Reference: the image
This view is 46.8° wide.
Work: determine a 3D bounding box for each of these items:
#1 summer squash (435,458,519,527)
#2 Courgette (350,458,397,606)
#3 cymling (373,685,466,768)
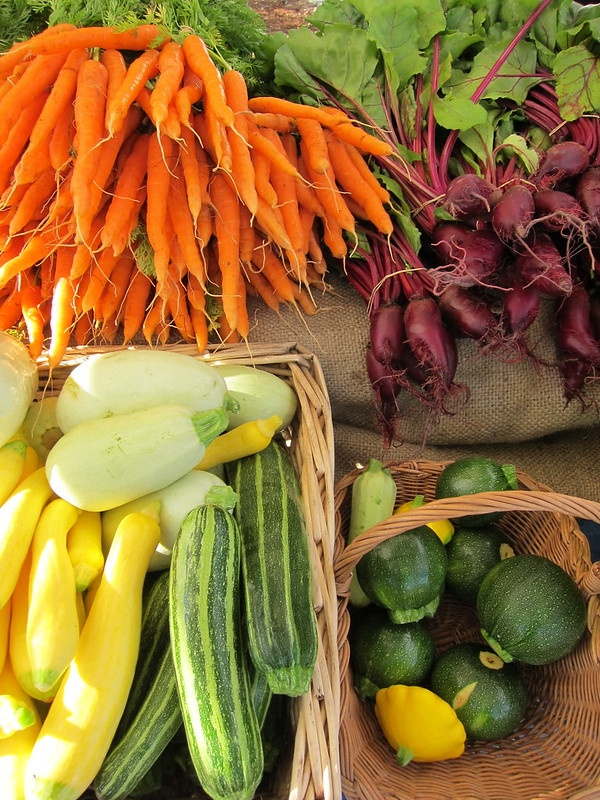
[{"bbox_3d":[0.348,0.169,1.350,0.160,0.144,0.124,4,48,12],"label":"summer squash"},{"bbox_3d":[0.140,0.236,1.328,0.080,0.084,0.291,-4,67,45],"label":"Courgette"},{"bbox_3d":[0.201,0.537,1.167,0.131,0.131,0.113,-11,46,-2],"label":"cymling"}]
